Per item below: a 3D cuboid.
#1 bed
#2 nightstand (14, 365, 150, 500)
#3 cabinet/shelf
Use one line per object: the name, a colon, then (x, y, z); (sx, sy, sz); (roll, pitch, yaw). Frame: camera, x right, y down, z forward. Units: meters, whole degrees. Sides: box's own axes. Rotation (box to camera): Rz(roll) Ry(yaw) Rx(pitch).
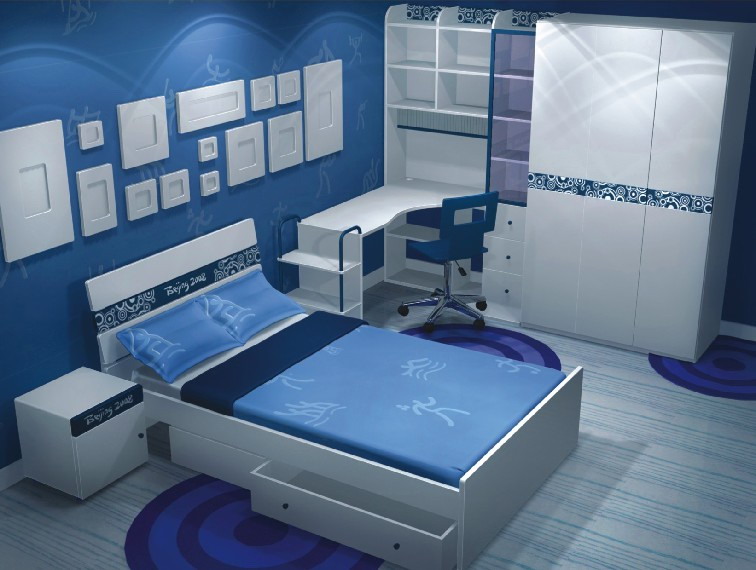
bed: (-0.407, 0.735, 3.837); (2.620, 1.239, 2.004); (15, 28, 27)
nightstand: (-1.925, 0.959, 3.789); (0.596, 0.635, 0.503); (9, 19, 26)
cabinet/shelf: (1.287, -0.926, 5.251); (2.815, 2.526, 1.456); (12, 26, 28)
